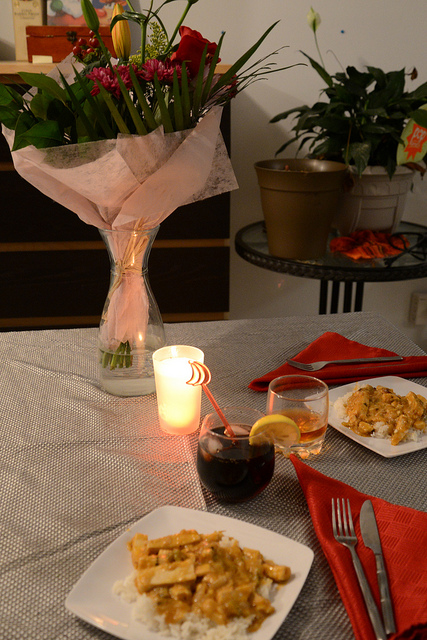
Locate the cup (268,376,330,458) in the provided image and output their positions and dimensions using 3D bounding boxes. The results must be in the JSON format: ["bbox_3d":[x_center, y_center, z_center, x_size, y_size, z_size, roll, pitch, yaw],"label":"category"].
[{"bbox_3d":[0.098,0.101,0.597,0.090,0.095,0.091,1,15,0],"label":"cup"}]

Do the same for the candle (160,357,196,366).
[{"bbox_3d":[-0.048,0.054,0.668,0.045,0.009,0.022,-2,20,-11],"label":"candle"}]

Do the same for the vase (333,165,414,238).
[{"bbox_3d":[0.419,-0.311,1.319,0.184,0.136,0.183,6,22,19],"label":"vase"}]

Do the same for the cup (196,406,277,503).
[{"bbox_3d":[0.013,0.138,0.554,0.096,0.091,0.093,-1,15,0],"label":"cup"}]

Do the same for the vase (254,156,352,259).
[{"bbox_3d":[0.198,-0.279,1.238,0.252,0.214,0.245,0,19,4],"label":"vase"}]
